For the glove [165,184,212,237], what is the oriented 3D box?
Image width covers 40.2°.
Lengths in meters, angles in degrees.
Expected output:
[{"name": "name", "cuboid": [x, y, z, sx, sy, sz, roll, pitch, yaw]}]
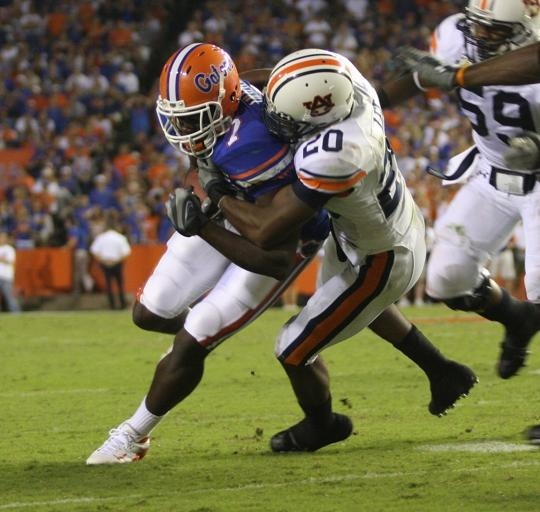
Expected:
[{"name": "glove", "cuboid": [-0.298, -0.151, 2.531, 0.162, 0.164, 0.106, 1, 4, 45]}]

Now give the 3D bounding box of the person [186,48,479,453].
[{"name": "person", "cuboid": [0.189, 0.031, 2.536, 0.539, 1.393, 0.592, -2, 3, 21]}]

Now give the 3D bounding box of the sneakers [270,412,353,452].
[{"name": "sneakers", "cuboid": [0.159, 0.660, 2.795, 0.355, 0.110, 0.117, -11, -11, -15]}]

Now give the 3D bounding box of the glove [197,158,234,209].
[{"name": "glove", "cuboid": [-0.193, -0.248, 2.498, 0.086, 0.162, 0.204, -5, 4, -35]}]
